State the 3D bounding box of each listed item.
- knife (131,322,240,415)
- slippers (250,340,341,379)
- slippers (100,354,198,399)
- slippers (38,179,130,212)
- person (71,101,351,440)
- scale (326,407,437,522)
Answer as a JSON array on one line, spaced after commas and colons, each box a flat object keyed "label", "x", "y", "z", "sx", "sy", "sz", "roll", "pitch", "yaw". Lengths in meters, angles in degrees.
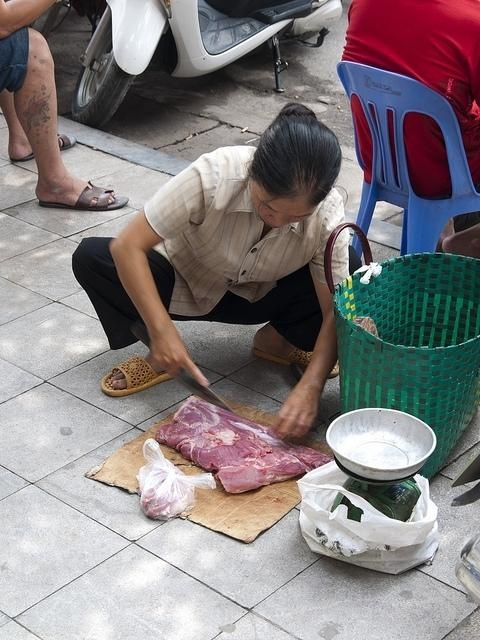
[{"label": "knife", "x": -0.189, "y": 0.141, "z": 1.781, "sx": 0.107, "sy": 0.169, "sz": 0.494, "roll": -20, "pitch": 28, "yaw": -30}, {"label": "slippers", "x": 0.194, "y": 0.136, "z": 2.176, "sx": 0.324, "sy": 0.092, "sz": 0.104, "roll": 14, "pitch": 52, "yaw": 16}, {"label": "slippers", "x": -0.304, "y": 0.185, "z": 2.046, "sx": 0.304, "sy": 0.094, "sz": 0.107, "roll": -10, "pitch": 42, "yaw": -28}, {"label": "slippers", "x": -0.792, "y": -0.643, "z": 3.125, "sx": 0.455, "sy": 0.092, "sz": 0.163, "roll": 2, "pitch": 36, "yaw": 3}, {"label": "person", "x": -0.032, "y": -0.228, "z": 1.847, "sx": 0.912, "sy": 1.010, "sz": 0.839, "roll": -17, "pitch": 34, "yaw": -25}, {"label": "scale", "x": 0.317, "y": 0.330, "z": 1.332, "sx": 0.212, "sy": 0.207, "sz": 0.248, "roll": 15, "pitch": 30, "yaw": 34}]
